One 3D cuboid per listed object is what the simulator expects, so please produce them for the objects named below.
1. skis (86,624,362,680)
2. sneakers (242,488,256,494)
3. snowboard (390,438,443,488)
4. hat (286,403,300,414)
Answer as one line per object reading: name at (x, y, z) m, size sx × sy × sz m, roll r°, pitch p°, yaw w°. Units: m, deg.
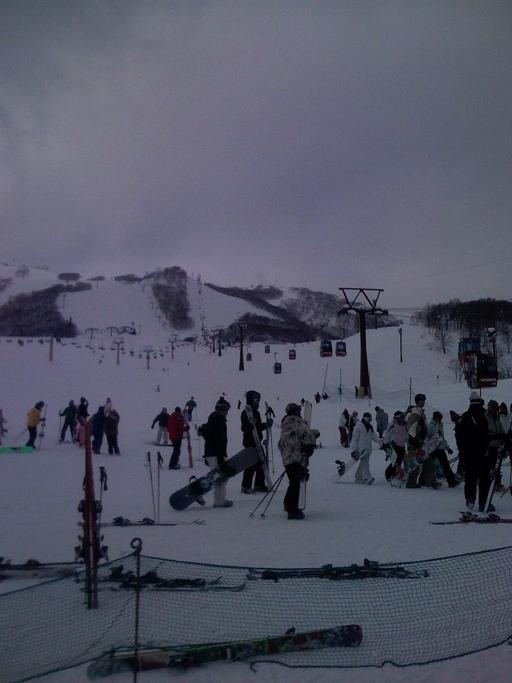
skis at (-0.180, 2.034, 4.458) m, size 1.825 × 0.207 × 0.296 m, roll -1°, pitch -2°, yaw -13°
sneakers at (-0.100, 2.227, 10.036) m, size 0.196 × 0.096 × 0.077 m, roll -9°, pitch -5°, yaw 22°
snowboard at (2.556, 1.915, 10.793) m, size 0.300 × 0.804 × 0.587 m, roll -38°, pitch 0°, yaw 8°
hat at (0.453, 0.830, 8.279) m, size 0.159 × 0.142 × 0.248 m, roll -1°, pitch -2°, yaw 2°
